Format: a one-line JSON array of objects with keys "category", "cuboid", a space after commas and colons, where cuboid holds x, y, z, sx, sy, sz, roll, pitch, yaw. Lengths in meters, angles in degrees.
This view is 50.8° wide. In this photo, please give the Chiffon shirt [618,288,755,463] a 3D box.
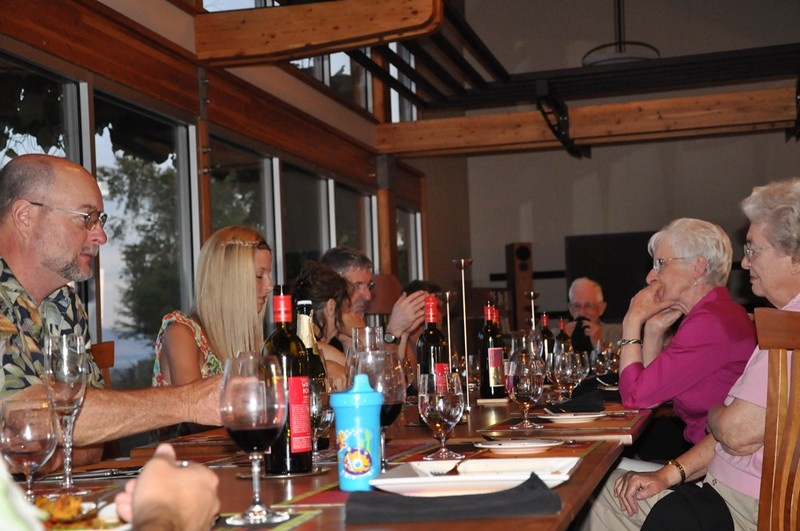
[{"category": "Chiffon shirt", "cuboid": [1.356, 0.493, 4.114, 0.678, 0.880, 0.692, 0, 13, 2]}]

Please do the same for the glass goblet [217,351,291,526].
[{"category": "glass goblet", "cuboid": [-0.426, 0.495, 2.476, 0.195, 0.474, 0.254, -2, -3, -9]}]

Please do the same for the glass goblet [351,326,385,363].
[{"category": "glass goblet", "cuboid": [-0.112, 0.283, 3.019, 0.113, 0.125, 0.117, 0, -7, 0]}]

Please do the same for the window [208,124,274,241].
[{"category": "window", "cuboid": [-1.294, -0.498, 6.742, 0.035, 0.657, 0.871, -8, 9, -44]}]

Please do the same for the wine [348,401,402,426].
[{"category": "wine", "cuboid": [-0.084, 0.458, 2.620, 0.100, 0.077, 0.103, 2, -11, -10]}]

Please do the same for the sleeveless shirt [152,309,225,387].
[{"category": "sleeveless shirt", "cuboid": [-0.968, 0.389, 3.896, 0.289, 0.397, 0.216, -10, -2, 3]}]

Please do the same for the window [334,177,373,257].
[{"category": "window", "cuboid": [-0.470, -0.492, 8.296, 0.062, 0.905, 0.879, 0, -2, 24]}]

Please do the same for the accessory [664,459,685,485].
[{"category": "accessory", "cuboid": [1.149, 0.857, 3.496, 0.025, 0.088, 0.087, -15, 22, 10]}]

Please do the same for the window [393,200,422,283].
[{"category": "window", "cuboid": [0.077, -0.280, 9.704, 0.054, 1.079, 0.915, -2, -4, 20]}]

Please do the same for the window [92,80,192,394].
[{"category": "window", "cuboid": [-1.699, -0.260, 5.566, 0.096, 2.475, 2.056, -2, 4, -29]}]

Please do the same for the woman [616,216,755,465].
[{"category": "woman", "cuboid": [1.432, 0.479, 4.169, 0.716, 1.393, 0.712, 3, 12, 20]}]

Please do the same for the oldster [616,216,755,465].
[{"category": "oldster", "cuboid": [1.454, 0.488, 4.194, 0.730, 1.406, 0.738, 1, 10, 20]}]
